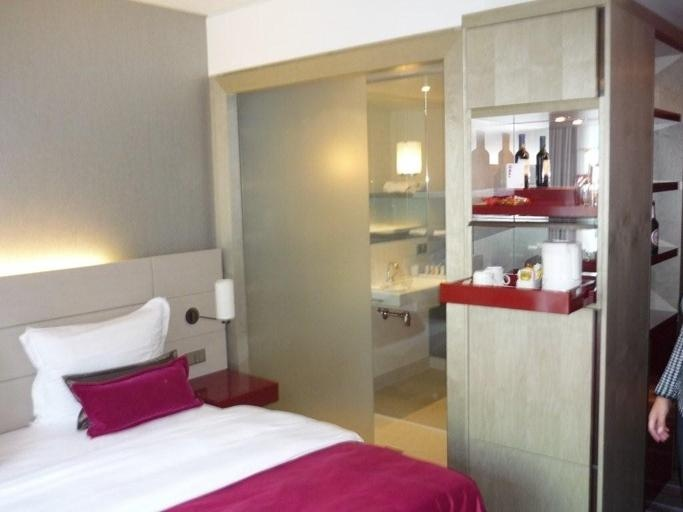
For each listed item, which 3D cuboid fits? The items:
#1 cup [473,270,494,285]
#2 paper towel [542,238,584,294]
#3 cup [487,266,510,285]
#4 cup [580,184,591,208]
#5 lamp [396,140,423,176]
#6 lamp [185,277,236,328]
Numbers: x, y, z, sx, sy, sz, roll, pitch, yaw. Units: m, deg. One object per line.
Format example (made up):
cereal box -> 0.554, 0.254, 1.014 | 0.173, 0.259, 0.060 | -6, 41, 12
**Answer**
cup -> 0.824, 0.133, 3.097 | 0.082, 0.084, 0.086 | -2, 2, 0
paper towel -> 1.240, 0.053, 2.947 | 0.227, 0.275, 0.232 | -9, 9, -39
cup -> 0.923, 0.114, 3.084 | 0.138, 0.136, 0.088 | 0, -3, -30
cup -> 1.363, -0.341, 2.920 | 0.032, 0.097, 0.066 | -3, 1, 14
lamp -> 0.469, -0.658, 3.610 | 0.201, 0.245, 0.210 | 0, 3, 18
lamp -> -1.000, 0.380, 4.007 | 0.367, 0.352, 0.143 | -10, -8, 22
